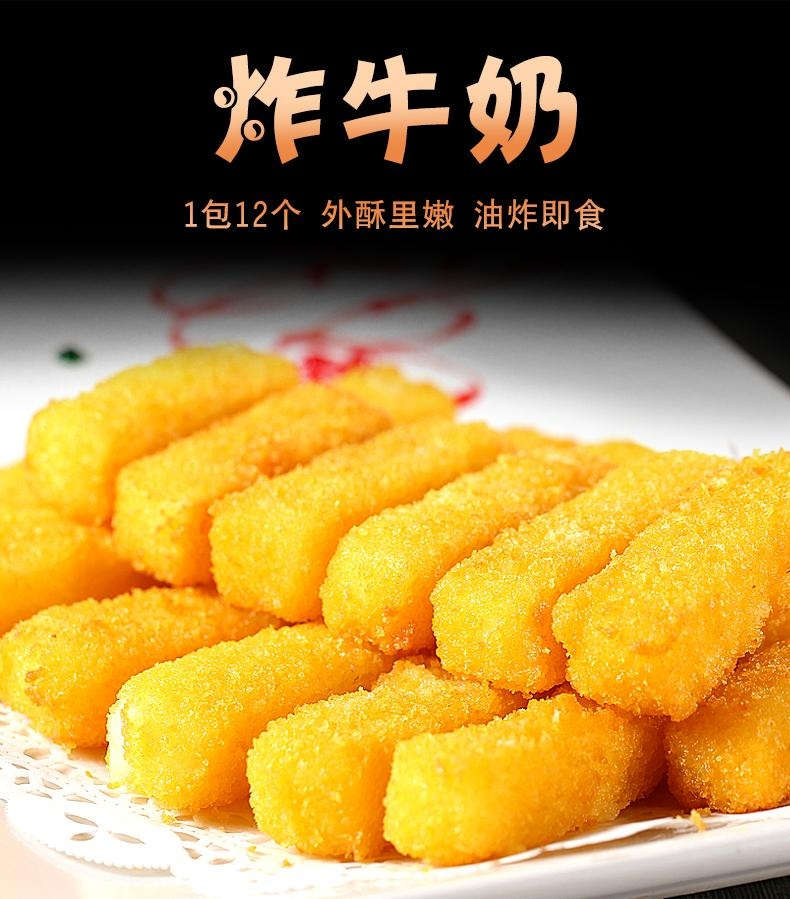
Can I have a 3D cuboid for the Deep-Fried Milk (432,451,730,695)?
[{"bbox_3d":[0.147,0.126,1.001,0.278,0.224,0.178,2,-9,-32],"label":"Deep-Fried Milk"}]
